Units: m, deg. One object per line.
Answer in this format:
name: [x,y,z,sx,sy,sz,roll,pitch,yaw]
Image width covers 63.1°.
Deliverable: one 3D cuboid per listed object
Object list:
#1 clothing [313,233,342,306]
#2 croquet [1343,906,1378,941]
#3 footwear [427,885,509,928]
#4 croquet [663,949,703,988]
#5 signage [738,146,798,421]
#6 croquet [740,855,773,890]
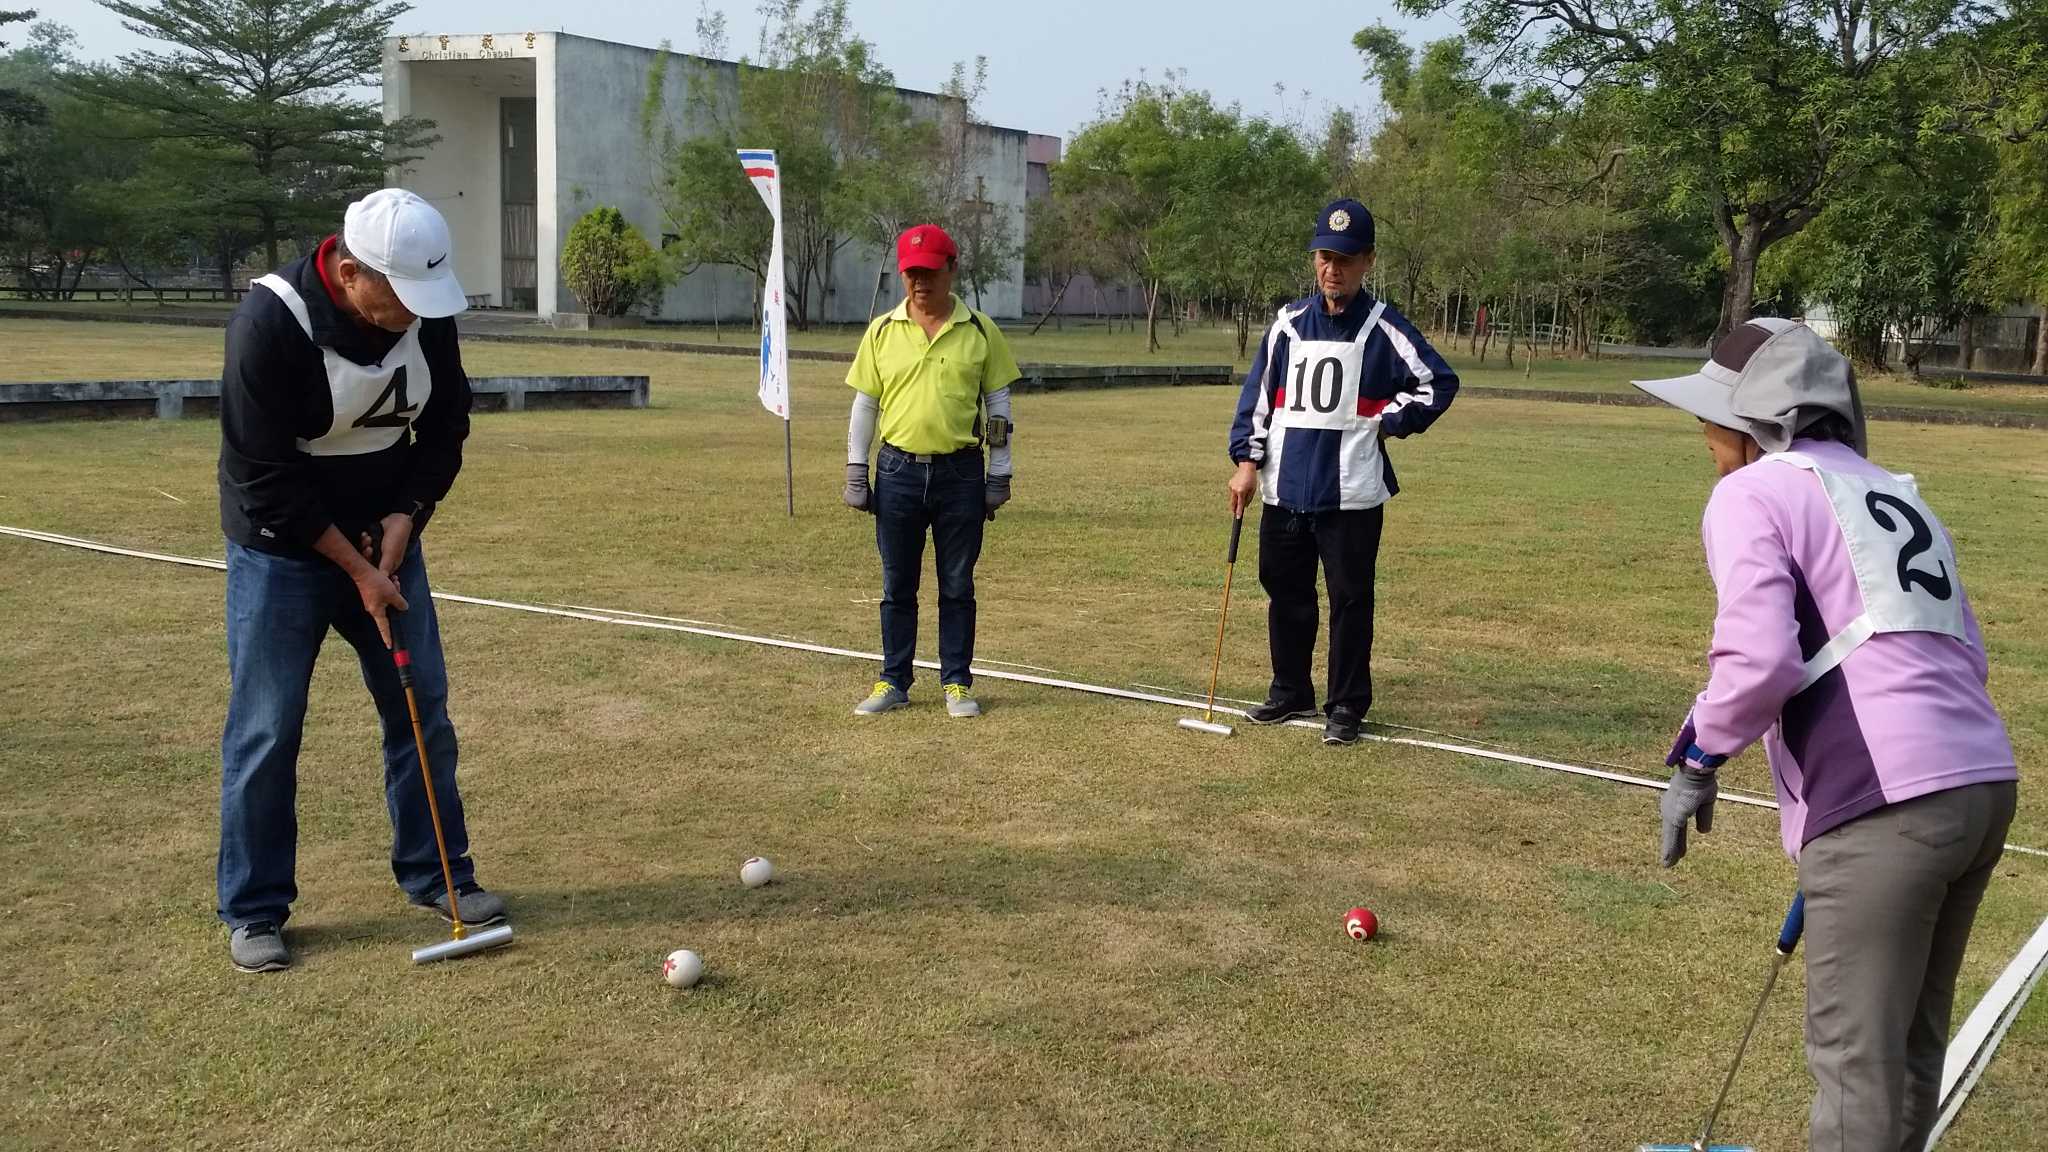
clothing: [-3.097,-1.361,7.444,0.114,0.291,0.308,-4,15,-22]
croquet: [1.606,1.655,7.995,0.158,0.146,0.138,40,-6,8]
footwear: [-2.610,1.535,7.784,0.377,0.149,0.157,-2,-1,0]
croquet: [-1.532,1.755,7.524,0.169,0.147,0.136,-1,15,-12]
signage: [-2.302,-2.559,14.909,0.359,2.373,1.432,0,15,-9]
croquet: [-1.298,1.441,8.185,0.141,0.122,0.137,-16,10,-34]
